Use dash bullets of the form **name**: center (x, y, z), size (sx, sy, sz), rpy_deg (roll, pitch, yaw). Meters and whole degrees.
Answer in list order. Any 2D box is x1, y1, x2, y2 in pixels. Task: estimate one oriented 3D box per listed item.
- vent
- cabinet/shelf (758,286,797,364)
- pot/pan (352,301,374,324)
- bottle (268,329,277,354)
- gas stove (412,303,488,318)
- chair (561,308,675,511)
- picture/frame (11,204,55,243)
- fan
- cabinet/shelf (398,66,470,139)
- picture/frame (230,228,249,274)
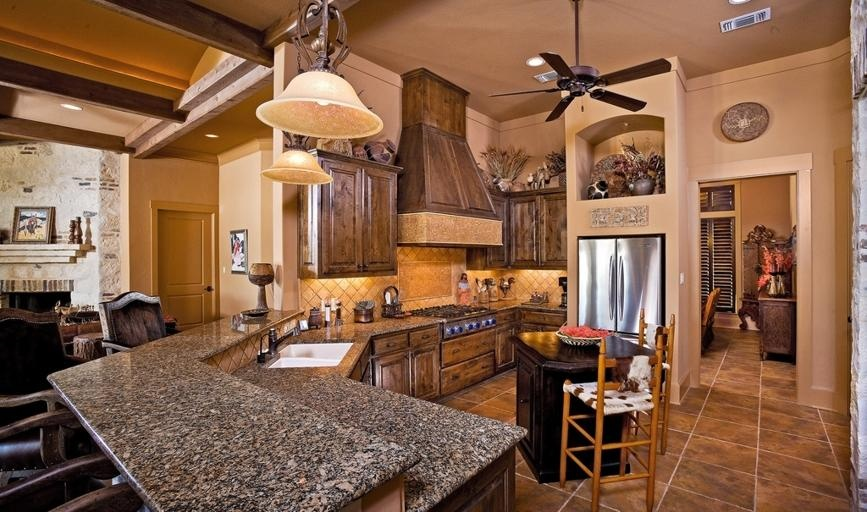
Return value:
- **vent**: center (0.204, -1.502, 8.469), size (1.060, 2.537, 2.174), rpy_deg (5, 3, 41)
- **cabinet/shelf**: center (5.941, 1.225, 9.378), size (0.625, 1.247, 1.496), rpy_deg (-1, -3, 36)
- **pot/pan**: center (-0.961, 0.783, 7.628), size (0.291, 0.292, 0.234), rpy_deg (-2, 2, -29)
- **bottle**: center (-1.879, 0.980, 6.345), size (0.097, 0.247, 0.202), rpy_deg (-2, 2, -17)
- **gas stove**: center (0.232, 0.849, 8.411), size (1.266, 0.100, 0.806), rpy_deg (-2, 1, -42)
- **chair**: center (2.244, 1.776, 6.450), size (1.435, 2.077, 0.949), rpy_deg (-3, 2, -43)
- **picture/frame**: center (-7.322, -0.559, 9.887), size (0.785, 0.787, 0.058), rpy_deg (-1, -5, -14)
- **fan**: center (1.961, -2.188, 7.137), size (1.956, 1.618, 1.842), rpy_deg (0, -4, 31)
- **cabinet/shelf**: center (-0.043, -2.337, 8.299), size (1.137, 0.941, 0.460), rpy_deg (6, -3, -41)
- **picture/frame**: center (-3.731, -0.091, 10.504), size (0.073, 0.939, 0.942), rpy_deg (1, -3, -41)
